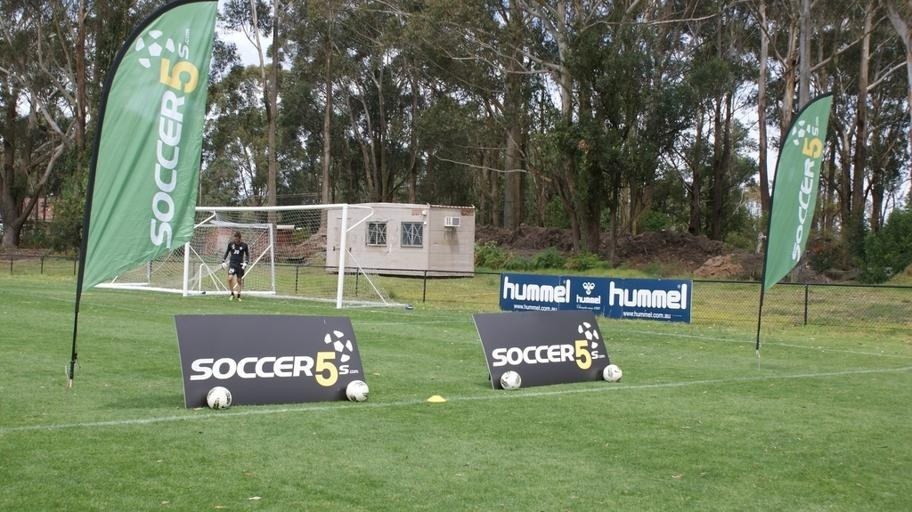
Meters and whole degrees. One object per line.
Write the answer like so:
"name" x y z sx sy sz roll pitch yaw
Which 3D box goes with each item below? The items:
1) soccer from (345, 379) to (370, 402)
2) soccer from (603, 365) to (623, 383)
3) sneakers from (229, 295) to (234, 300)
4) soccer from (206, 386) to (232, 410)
"soccer" -3.010 4.146 26.842 0.632 0.650 0.510 17 20 -28
"soccer" 5.158 3.839 28.758 0.564 0.577 0.551 0 2 20
"sneakers" -10.513 1.946 41.018 0.213 0.188 0.283 3 -11 -12
"soccer" -7.109 4.281 26.310 0.659 0.656 0.666 -21 -34 -14
